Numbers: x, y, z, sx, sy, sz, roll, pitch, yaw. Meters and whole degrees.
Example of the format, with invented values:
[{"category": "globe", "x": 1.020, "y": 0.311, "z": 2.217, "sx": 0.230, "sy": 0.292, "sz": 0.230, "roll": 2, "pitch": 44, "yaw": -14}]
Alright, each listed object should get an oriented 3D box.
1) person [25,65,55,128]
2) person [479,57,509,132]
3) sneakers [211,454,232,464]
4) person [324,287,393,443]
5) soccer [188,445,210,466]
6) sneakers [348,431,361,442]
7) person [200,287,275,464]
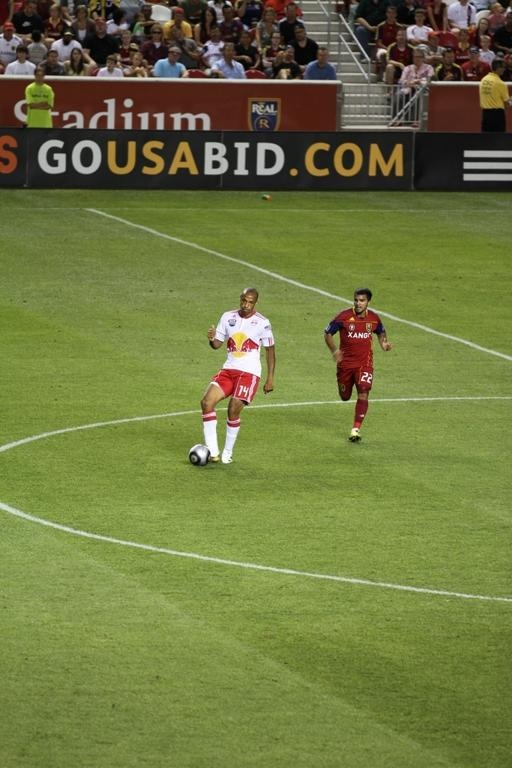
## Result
[{"category": "person", "x": -5.600, "y": -7.308, "z": 28.842, "sx": 0.643, "sy": 1.445, "sz": 1.000, "roll": -1, "pitch": 13, "yaw": -11}, {"category": "person", "x": 6.257, "y": -7.521, "z": 29.617, "sx": 0.764, "sy": 1.842, "sz": 1.321, "roll": 3, "pitch": 13, "yaw": 5}, {"category": "sneakers", "x": -0.373, "y": 0.777, "z": 11.615, "sx": 0.239, "sy": 0.090, "sz": 0.082, "roll": 1, "pitch": 5, "yaw": 5}, {"category": "person", "x": 1.133, "y": -0.271, "z": 12.989, "sx": 0.732, "sy": 1.611, "sz": 1.042, "roll": 3, "pitch": 13, "yaw": 3}, {"category": "soccer", "x": -0.599, "y": 0.723, "z": 11.351, "sx": 0.208, "sy": 0.203, "sz": 0.215, "roll": 1, "pitch": 42, "yaw": -10}, {"category": "sneakers", "x": 1.097, "y": 0.585, "z": 12.598, "sx": 0.075, "sy": 0.073, "sz": 0.175, "roll": -1, "pitch": -10, "yaw": -5}, {"category": "person", "x": -0.208, "y": -0.066, "z": 11.602, "sx": 0.719, "sy": 1.798, "sz": 0.878, "roll": 2, "pitch": 13, "yaw": 0}]
